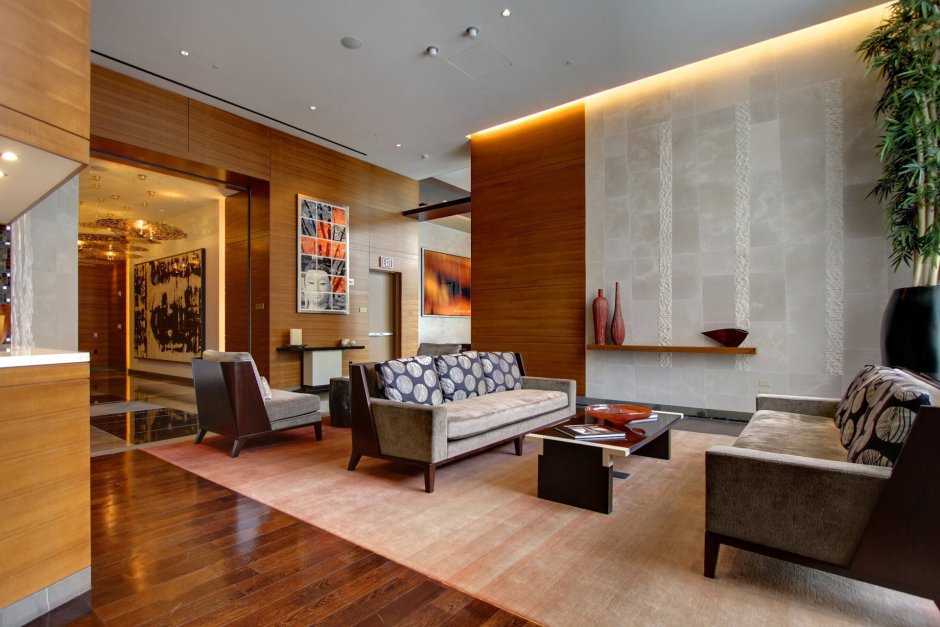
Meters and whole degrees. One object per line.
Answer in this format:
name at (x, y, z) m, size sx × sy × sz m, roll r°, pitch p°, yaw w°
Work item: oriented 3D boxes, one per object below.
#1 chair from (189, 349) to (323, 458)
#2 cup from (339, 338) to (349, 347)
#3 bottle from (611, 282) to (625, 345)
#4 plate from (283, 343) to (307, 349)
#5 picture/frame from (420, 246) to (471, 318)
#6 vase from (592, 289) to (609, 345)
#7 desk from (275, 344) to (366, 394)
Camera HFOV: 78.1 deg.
chair at (-2.504, 0.988, 6.832) m, size 1.457 × 0.996 × 1.450 m, roll 0°, pitch 0°, yaw 30°
cup at (-2.230, 0.526, 10.317) m, size 0.147 × 0.101 × 0.145 m, roll 0°, pitch -6°, yaw 0°
bottle at (2.075, 0.018, 8.203) m, size 0.184 × 0.720 × 0.227 m, roll -2°, pitch 1°, yaw 32°
plate at (-2.862, 0.548, 9.417) m, size 0.372 × 0.122 × 0.224 m, roll -2°, pitch 0°, yaw -14°
picture/frame at (-0.576, -0.664, 14.580) m, size 0.104 × 1.601 × 2.367 m, roll 2°, pitch 1°, yaw 29°
vase at (1.861, 0.046, 8.315) m, size 0.240 × 0.670 × 0.223 m, roll -2°, pitch 1°, yaw 22°
desk at (-2.514, 0.915, 9.885) m, size 0.442 × 0.731 × 1.644 m, roll -1°, pitch 1°, yaw 31°
